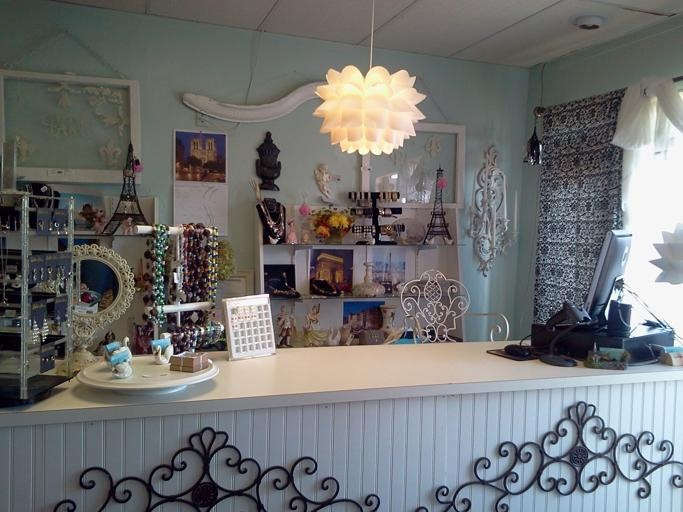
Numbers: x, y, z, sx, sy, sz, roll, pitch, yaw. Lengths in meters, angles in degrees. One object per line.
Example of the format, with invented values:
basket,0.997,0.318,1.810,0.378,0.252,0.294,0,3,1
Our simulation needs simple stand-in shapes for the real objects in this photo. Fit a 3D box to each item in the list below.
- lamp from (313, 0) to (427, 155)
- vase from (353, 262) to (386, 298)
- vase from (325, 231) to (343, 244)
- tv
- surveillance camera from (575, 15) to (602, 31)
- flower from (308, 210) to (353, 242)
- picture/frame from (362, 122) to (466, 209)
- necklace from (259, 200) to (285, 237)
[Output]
lamp,0.213,-0.885,3.231,0.565,1.003,0.576,-5,12,-31
vase,0.270,0.201,5.330,0.273,0.327,0.286,1,1,14
vase,-0.062,-0.154,5.113,0.127,0.095,0.089,-2,-8,-2
tv,1.722,0.175,3.786,0.217,0.693,0.667,19,7,32
surveillance camera,2.003,-1.882,4.833,0.207,0.076,0.276,8,15,21
flower,-0.117,-0.237,5.154,0.287,0.222,0.293,-1,0,-40
picture/frame,0.603,-0.772,5.164,0.786,0.637,0.055,1,-2,-18
necklace,-0.583,-0.331,5.002,0.099,0.300,0.212,-10,1,44
